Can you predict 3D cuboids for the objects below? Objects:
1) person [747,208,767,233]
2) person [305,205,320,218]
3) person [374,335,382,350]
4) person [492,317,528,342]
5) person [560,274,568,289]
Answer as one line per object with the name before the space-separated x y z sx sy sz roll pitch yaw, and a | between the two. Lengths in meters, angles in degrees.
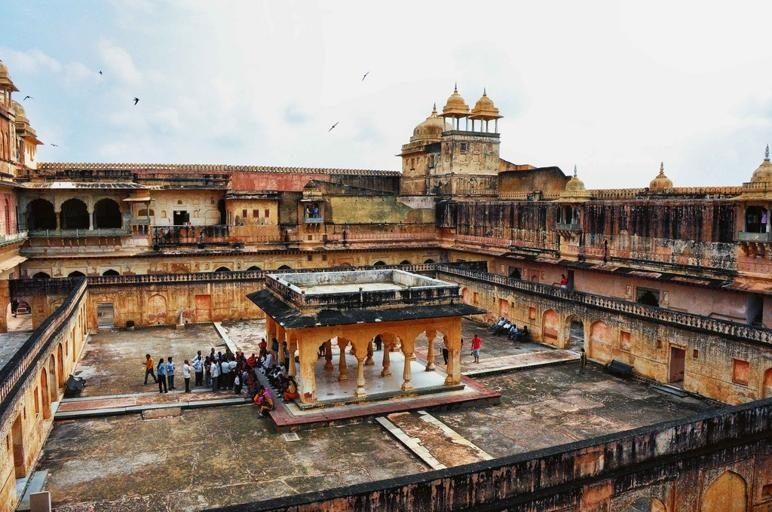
person | 17.294 -1.694 28.285 0.937 1.154 0.341 10 15 38
person | -5.672 -3.369 47.003 1.072 0.885 0.688 -2 12 -10
person | -0.400 4.358 31.198 0.347 0.855 0.979 -1 12 -3
person | 7.097 4.282 34.407 1.540 0.906 0.992 25 14 21
person | 11.039 1.520 37.618 0.445 0.792 1.134 2 12 10
